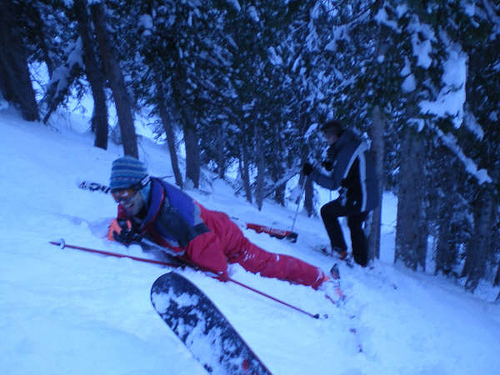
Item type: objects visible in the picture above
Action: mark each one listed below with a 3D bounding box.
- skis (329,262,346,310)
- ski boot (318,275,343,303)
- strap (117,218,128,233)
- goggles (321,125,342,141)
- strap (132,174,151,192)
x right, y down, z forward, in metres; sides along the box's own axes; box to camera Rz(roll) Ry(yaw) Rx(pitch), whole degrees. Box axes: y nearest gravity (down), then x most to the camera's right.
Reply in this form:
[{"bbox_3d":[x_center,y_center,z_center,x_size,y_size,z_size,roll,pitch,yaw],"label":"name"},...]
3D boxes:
[{"bbox_3d":[1.306,1.559,8.220,0.149,0.563,0.230,-4,-21,-4],"label":"skis"},{"bbox_3d":[1.242,1.564,8.178,0.520,0.226,0.192,49,23,24],"label":"ski boot"},{"bbox_3d":[-1.937,0.580,8.146,0.110,0.166,0.254,4,11,-38],"label":"strap"},{"bbox_3d":[1.411,-0.943,9.224,0.133,0.263,0.194,51,33,2],"label":"goggles"},{"bbox_3d":[-1.606,-0.080,7.893,0.226,0.089,0.171,-36,22,-6],"label":"strap"}]
